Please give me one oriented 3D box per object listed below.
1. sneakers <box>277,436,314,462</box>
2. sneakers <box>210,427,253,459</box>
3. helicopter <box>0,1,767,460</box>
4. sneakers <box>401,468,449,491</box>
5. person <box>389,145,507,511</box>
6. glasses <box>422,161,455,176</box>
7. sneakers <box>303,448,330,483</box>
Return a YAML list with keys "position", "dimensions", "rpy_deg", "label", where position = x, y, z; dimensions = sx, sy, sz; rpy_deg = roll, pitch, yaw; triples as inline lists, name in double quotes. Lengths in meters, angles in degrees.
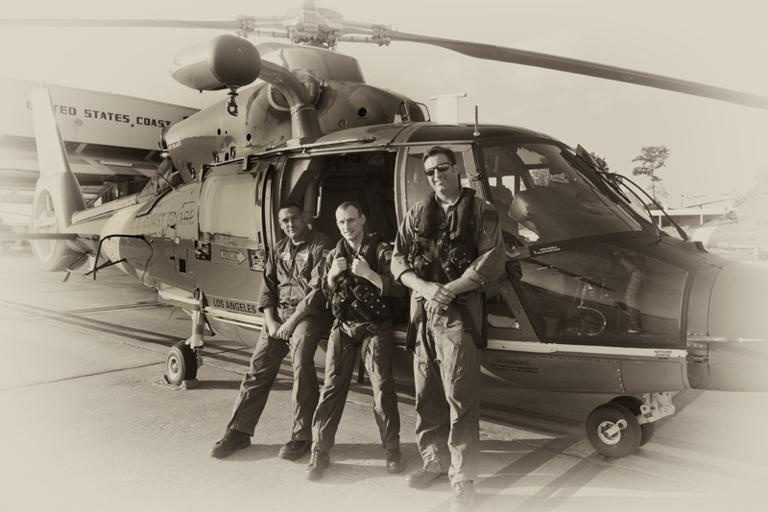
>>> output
- position: [-0.838, 1.841, 5.413]
  dimensions: [0.133, 0.155, 0.369]
  rpy_deg: [0, -7, 41]
  label: "sneakers"
- position: [-1.456, 1.806, 5.550]
  dimensions: [0.417, 0.176, 0.175]
  rpy_deg: [2, -3, -44]
  label: "sneakers"
- position: [0.143, -0.514, 6.355]
  dimensions: [6.140, 2.344, 5.165]
  rpy_deg: [5, 27, 31]
  label: "helicopter"
- position: [0.354, 1.954, 4.994]
  dimensions: [0.404, 0.161, 0.143]
  rpy_deg: [3, 0, -8]
  label: "sneakers"
- position: [0.469, 0.568, 4.819]
  dimensions: [0.980, 2.889, 1.000]
  rpy_deg: [3, 16, 16]
  label: "person"
- position: [0.484, -0.751, 4.872]
  dimensions: [0.243, 0.129, 0.090]
  rpy_deg: [1, 15, 5]
  label: "glasses"
- position: [-0.607, 1.872, 5.158]
  dimensions: [0.156, 0.228, 0.225]
  rpy_deg: [4, 15, 17]
  label: "sneakers"
